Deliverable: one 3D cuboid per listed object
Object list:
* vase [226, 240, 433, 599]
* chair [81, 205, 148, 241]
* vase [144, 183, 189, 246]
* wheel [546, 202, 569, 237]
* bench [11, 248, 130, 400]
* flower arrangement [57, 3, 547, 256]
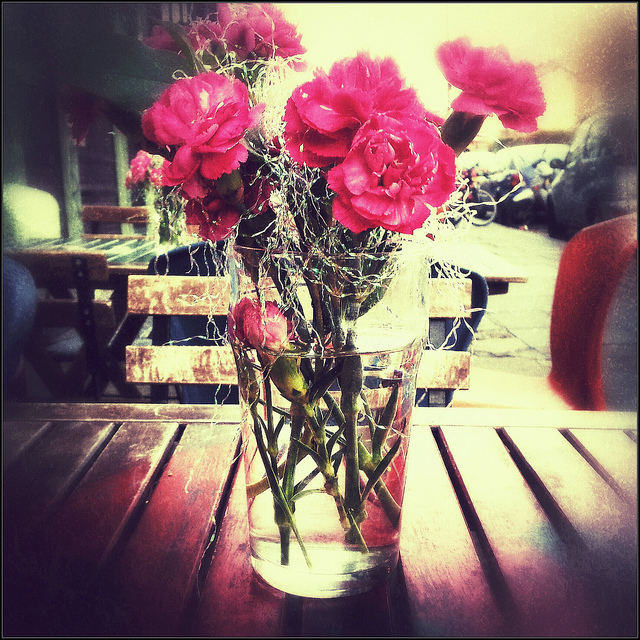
[{"bbox_3d":[0.009,0.071,0.571,0.169,0.346,0.198,-1,15,1],"label":"vase"},{"bbox_3d":[-1.000,-0.469,2.815,0.200,0.175,0.130,1,-4,-1],"label":"chair"},{"bbox_3d":[-0.147,-0.112,0.605,0.040,0.081,0.044,-1,8,3],"label":"vase"},{"bbox_3d":[1.042,-0.436,2.540,0.102,0.146,0.115,-7,10,-6],"label":"wheel"},{"bbox_3d":[-0.728,0.020,1.707,0.306,0.458,0.316,2,18,2],"label":"bench"},{"bbox_3d":[-0.013,-0.150,0.442,0.344,0.199,0.175,6,15,22],"label":"flower arrangement"}]
